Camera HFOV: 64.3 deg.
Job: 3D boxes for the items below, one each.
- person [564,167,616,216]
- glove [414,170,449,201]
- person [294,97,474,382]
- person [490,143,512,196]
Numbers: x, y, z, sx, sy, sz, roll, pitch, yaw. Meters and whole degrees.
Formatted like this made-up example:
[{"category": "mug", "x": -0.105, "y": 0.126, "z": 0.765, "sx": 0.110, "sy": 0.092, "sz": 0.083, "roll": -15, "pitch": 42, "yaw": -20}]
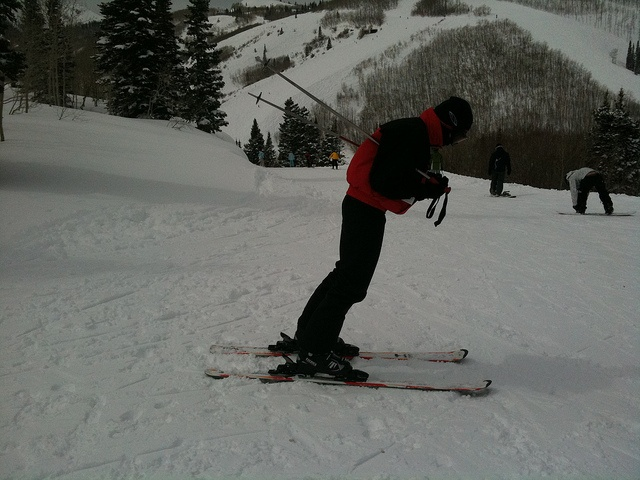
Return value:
[{"category": "person", "x": 6.480, "y": -1.165, "z": 12.242, "sx": 0.626, "sy": 1.106, "sz": 1.130, "roll": 3, "pitch": 10, "yaw": -29}, {"category": "glove", "x": 1.046, "y": -0.498, "z": 4.757, "sx": 0.342, "sy": 0.273, "sz": 0.292, "roll": 9, "pitch": 9, "yaw": 6}, {"category": "person", "x": 0.544, "y": -0.042, "z": 4.941, "sx": 1.272, "sy": 2.830, "sz": 0.475, "roll": 8, "pitch": 9, "yaw": -1}, {"category": "person", "x": 5.798, "y": -2.239, "z": 16.421, "sx": 0.693, "sy": 1.640, "sz": 1.479, "roll": 11, "pitch": 10, "yaw": 17}]
